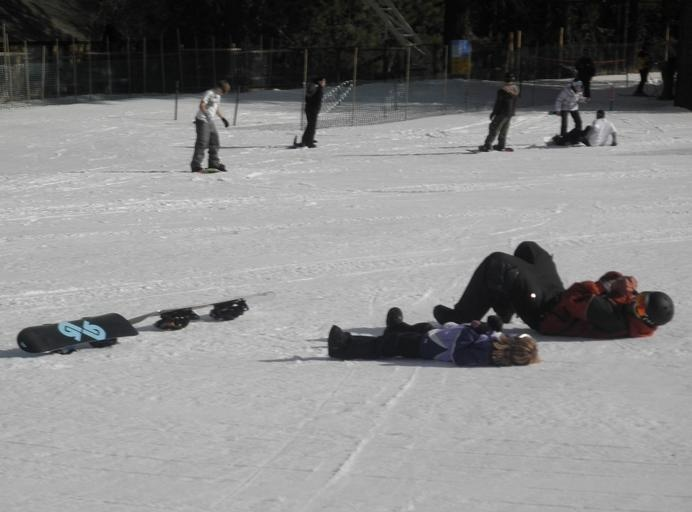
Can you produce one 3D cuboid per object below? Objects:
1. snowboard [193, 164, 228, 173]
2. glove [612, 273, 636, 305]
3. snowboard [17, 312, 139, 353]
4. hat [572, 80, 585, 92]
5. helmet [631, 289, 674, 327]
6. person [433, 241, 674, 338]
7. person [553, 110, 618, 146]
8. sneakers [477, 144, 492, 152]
[{"bbox_3d":[-2.606,-1.655,16.956,0.677,0.163,0.337,0,10,-13],"label":"snowboard"},{"bbox_3d":[2.341,0.273,7.425,0.254,0.210,0.126,-1,13,-21],"label":"glove"},{"bbox_3d":[-2.255,0.644,7.469,0.839,0.072,0.369,-5,27,-29],"label":"snowboard"},{"bbox_3d":[5.722,-4.180,22.002,0.285,0.260,0.314,-6,5,-19],"label":"hat"},{"bbox_3d":[2.502,0.437,7.323,0.361,0.249,0.335,18,-21,28],"label":"helmet"},{"bbox_3d":[2.087,0.403,8.502,3.097,0.986,1.128,-1,-3,12],"label":"person"},{"bbox_3d":[5.691,-2.958,20.939,0.724,0.812,1.222,-7,14,-41],"label":"person"},{"bbox_3d":[3.140,-2.413,20.155,0.329,0.130,0.380,2,4,12],"label":"sneakers"}]
